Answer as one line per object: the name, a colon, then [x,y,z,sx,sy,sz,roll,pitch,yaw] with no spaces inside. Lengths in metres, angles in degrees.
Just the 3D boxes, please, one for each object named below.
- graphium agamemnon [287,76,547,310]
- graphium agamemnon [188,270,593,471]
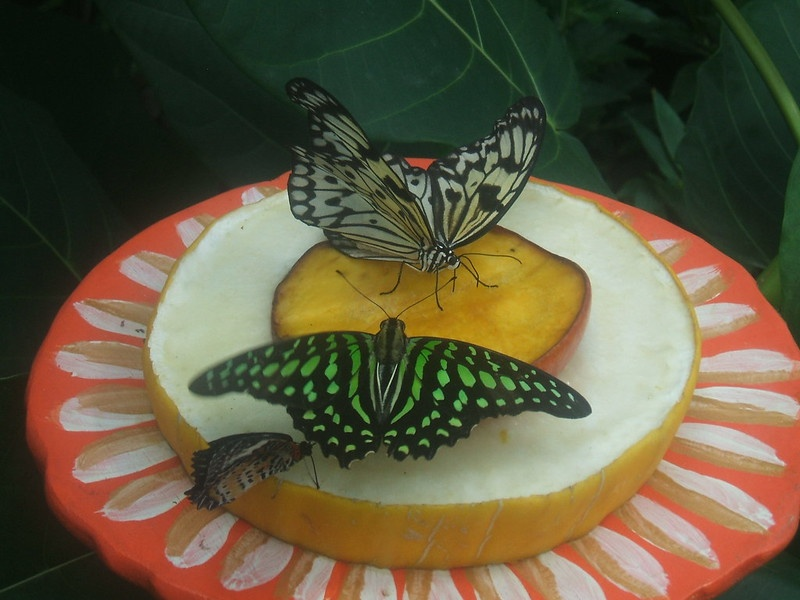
graphium agamemnon: [0.025,-0.133,1.340,0.314,0.172,0.230,-3,24,-29]
graphium agamemnon: [-0.004,0.076,1.181,0.374,0.086,0.177,3,59,3]
